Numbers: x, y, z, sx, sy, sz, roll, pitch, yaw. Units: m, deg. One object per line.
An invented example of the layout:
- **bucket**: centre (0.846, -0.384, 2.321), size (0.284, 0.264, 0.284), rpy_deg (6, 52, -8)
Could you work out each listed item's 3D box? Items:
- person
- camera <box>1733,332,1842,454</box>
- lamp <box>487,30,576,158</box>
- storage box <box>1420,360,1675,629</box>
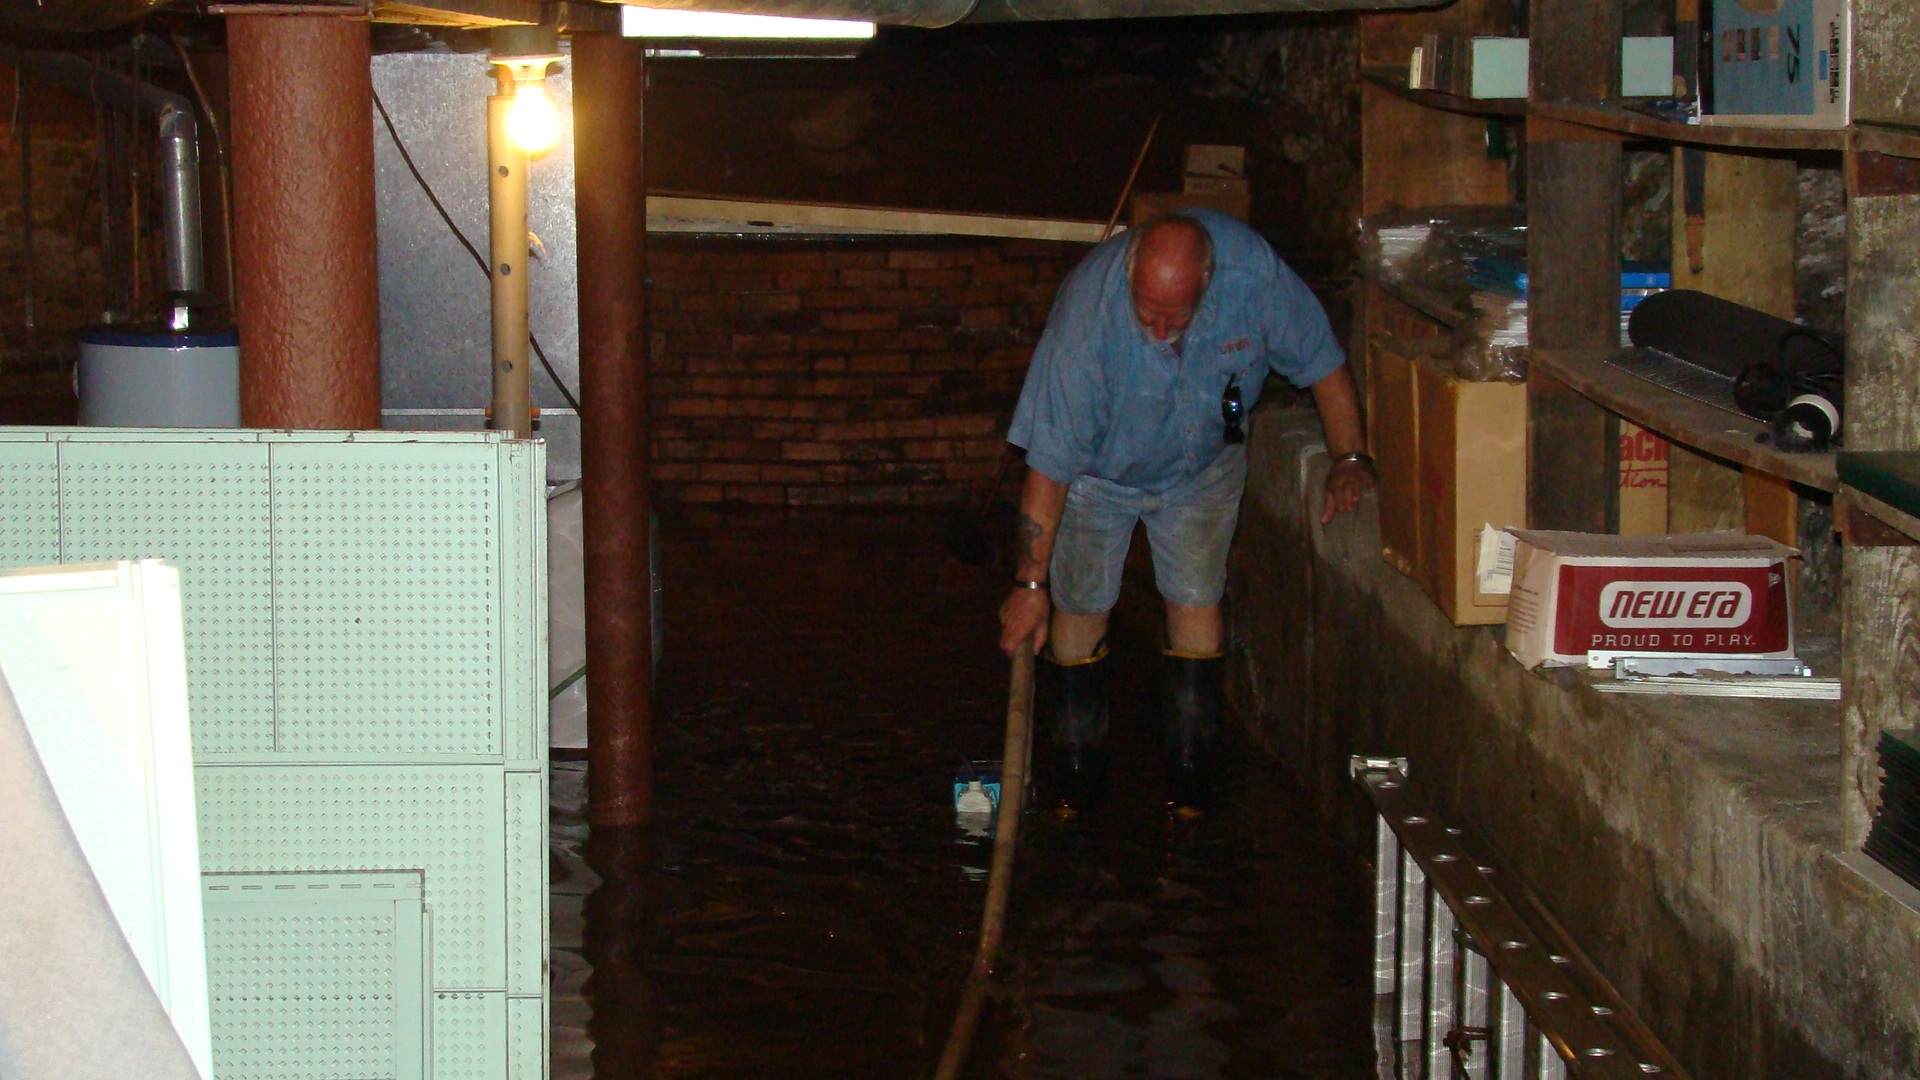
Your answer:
- **person**: centre (0.761, -0.051, 6.902), size (1.229, 2.217, 0.737), rpy_deg (-1, 13, 0)
- **camera**: centre (2.136, -0.392, 5.022), size (0.102, 0.263, 0.454), rpy_deg (22, 34, 1)
- **lamp**: centre (-1.550, -1.585, 6.906), size (0.248, 0.445, 0.234), rpy_deg (-4, 13, -13)
- **storage box**: centre (1.691, -0.180, 6.358), size (1.103, 0.957, 0.749), rpy_deg (1, 6, 4)
